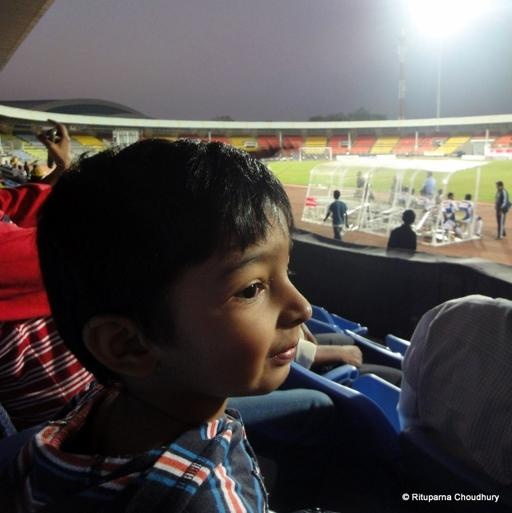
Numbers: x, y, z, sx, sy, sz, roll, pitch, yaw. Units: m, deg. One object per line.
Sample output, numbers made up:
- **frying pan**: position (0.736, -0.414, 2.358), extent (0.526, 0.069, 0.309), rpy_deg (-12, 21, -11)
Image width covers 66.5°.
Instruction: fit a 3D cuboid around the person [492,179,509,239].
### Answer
- **person**: position (6.196, -1.125, 9.865), extent (0.326, 1.431, 2.726), rpy_deg (5, 8, 31)
